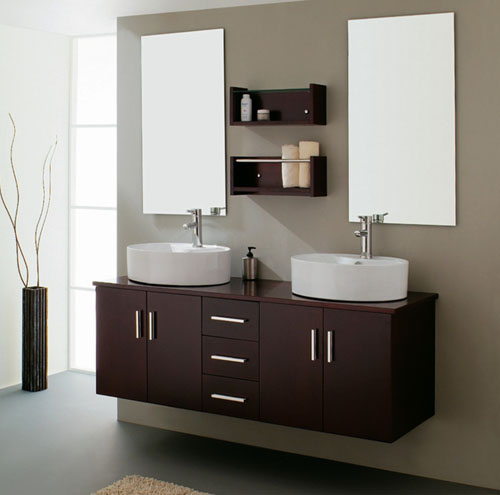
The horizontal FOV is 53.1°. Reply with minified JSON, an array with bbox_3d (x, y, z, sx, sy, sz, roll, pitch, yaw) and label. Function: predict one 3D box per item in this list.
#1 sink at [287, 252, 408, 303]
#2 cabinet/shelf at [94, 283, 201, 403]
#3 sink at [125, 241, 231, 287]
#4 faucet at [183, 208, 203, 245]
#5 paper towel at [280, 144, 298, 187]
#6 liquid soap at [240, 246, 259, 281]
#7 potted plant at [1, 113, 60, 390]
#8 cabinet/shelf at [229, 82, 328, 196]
[{"bbox_3d":[0.466,0.139,2.434,0.554,0.179,0.468,1,4,21],"label":"sink"},{"bbox_3d":[-0.544,0.508,2.748,0.536,0.606,0.231,1,0,20],"label":"cabinet/shelf"},{"bbox_3d":[-0.427,0.104,2.797,0.594,0.192,0.254,1,4,18],"label":"sink"},{"bbox_3d":[-0.335,-0.117,3.007,0.104,0.229,0.257,0,3,-5],"label":"faucet"},{"bbox_3d":[0.211,-0.433,2.720,0.094,0.229,0.210,0,3,4],"label":"paper towel"},{"bbox_3d":[-0.011,0.090,2.934,0.117,0.190,0.111,1,3,17],"label":"liquid soap"},{"bbox_3d":[-1.700,0.040,3.910,0.329,2.084,0.421,0,3,-4],"label":"potted plant"},{"bbox_3d":[0.174,-0.594,2.749,0.501,0.719,0.183,3,4,28],"label":"cabinet/shelf"}]
